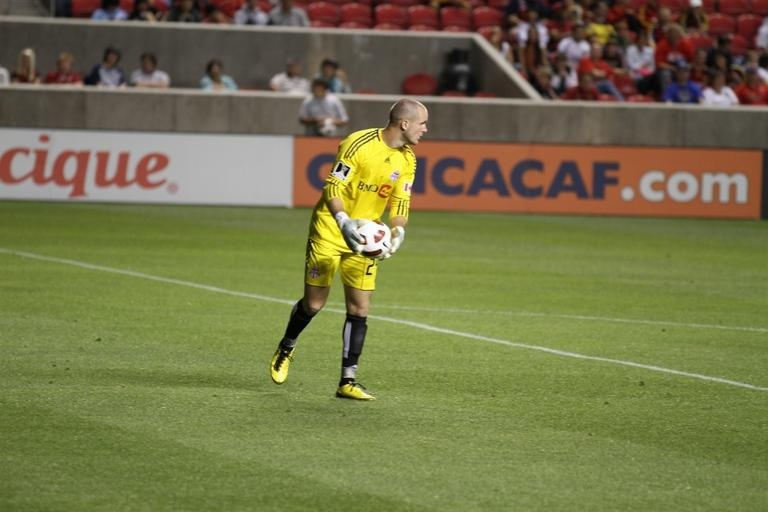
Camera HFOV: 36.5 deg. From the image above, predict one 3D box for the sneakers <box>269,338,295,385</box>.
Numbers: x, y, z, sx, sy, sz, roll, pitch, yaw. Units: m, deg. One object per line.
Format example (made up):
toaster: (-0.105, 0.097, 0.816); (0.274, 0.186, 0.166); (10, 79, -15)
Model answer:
sneakers: (-1.072, 1.091, 11.987); (0.209, 0.462, 0.218); (6, -6, -19)

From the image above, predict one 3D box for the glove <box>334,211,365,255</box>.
glove: (-0.379, -0.220, 11.613); (0.261, 0.391, 0.137); (-33, -3, -32)

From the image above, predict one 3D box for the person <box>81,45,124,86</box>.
person: (-5.632, -3.805, 23.518); (0.791, 0.750, 0.800); (6, 15, 15)

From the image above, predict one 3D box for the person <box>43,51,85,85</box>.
person: (-6.432, -3.697, 23.396); (0.849, 0.581, 0.407); (0, 19, -24)

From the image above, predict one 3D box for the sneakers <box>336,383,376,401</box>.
sneakers: (-0.291, 1.387, 11.803); (0.419, 0.145, 0.159); (2, -1, 2)

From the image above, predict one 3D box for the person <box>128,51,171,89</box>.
person: (-4.778, -3.681, 23.750); (0.879, 0.683, 0.453); (0, 10, 4)

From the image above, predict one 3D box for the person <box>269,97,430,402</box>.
person: (-0.337, -0.091, 11.799); (1.550, 2.954, 0.908); (-2, 16, -15)

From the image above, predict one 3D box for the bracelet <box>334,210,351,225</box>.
bracelet: (-0.429, -0.377, 11.600); (0.135, 0.133, 0.137); (-24, 54, -33)

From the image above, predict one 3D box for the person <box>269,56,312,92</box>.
person: (-1.913, -3.694, 23.883); (0.789, 0.625, 0.753); (1, 14, -5)

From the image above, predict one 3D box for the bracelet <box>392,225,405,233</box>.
bracelet: (0.142, -0.256, 11.737); (0.102, 0.079, 0.094); (4, 7, 20)
